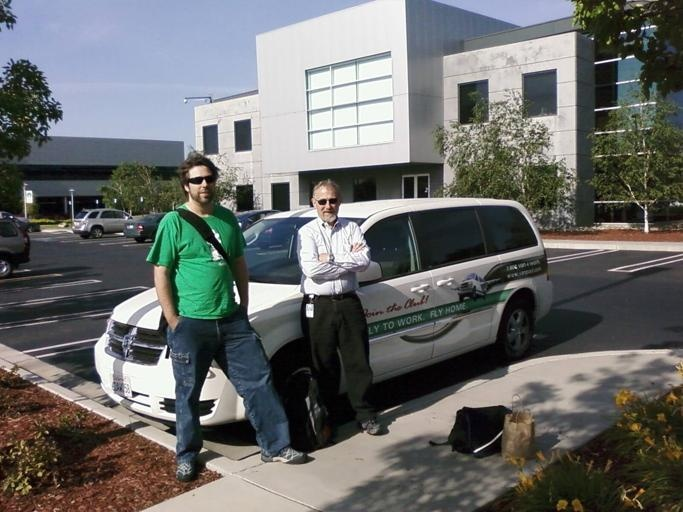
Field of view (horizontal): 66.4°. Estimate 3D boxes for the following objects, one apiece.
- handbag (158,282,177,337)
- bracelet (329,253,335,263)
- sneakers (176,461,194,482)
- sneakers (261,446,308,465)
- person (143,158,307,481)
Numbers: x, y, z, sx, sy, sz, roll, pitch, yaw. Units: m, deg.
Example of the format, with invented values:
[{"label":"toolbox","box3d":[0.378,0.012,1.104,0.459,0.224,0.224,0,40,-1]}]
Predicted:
[{"label":"handbag","box3d":[-1.395,0.418,4.209,0.152,0.384,0.121,-4,6,-23]},{"label":"bracelet","box3d":[-0.091,0.023,4.892,0.065,0.041,0.102,3,4,0]},{"label":"sneakers","box3d":[-1.281,1.759,4.266,0.157,0.142,0.128,-3,6,-14]},{"label":"sneakers","box3d":[-0.491,1.698,4.537,0.393,0.191,0.159,0,-1,1]},{"label":"person","box3d":[-1.041,0.480,4.341,0.983,2.642,0.465,-4,6,-24]}]
